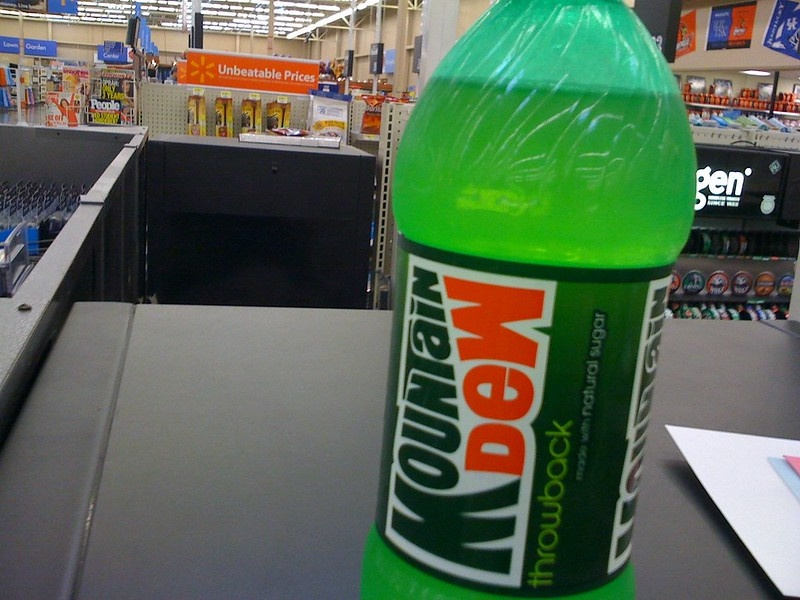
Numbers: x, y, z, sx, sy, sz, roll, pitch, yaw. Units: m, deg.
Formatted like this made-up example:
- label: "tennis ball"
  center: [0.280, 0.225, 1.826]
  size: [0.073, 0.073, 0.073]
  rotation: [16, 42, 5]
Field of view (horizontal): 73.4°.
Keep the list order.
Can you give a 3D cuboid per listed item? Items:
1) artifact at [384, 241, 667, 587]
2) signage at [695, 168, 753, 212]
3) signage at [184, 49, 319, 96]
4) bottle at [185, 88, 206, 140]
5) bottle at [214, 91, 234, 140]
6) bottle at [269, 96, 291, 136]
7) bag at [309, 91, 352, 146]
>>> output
- label: "artifact"
  center: [0.053, 0.063, 0.426]
  size: [0.175, 0.234, 0.200]
  rotation: [5, 11, -9]
- label: "signage"
  center: [1.461, -0.509, 2.478]
  size: [0.285, 0.206, 0.098]
  rotation: [-5, 17, -25]
- label: "signage"
  center: [-1.159, -1.763, 4.178]
  size: [1.025, 0.277, 0.378]
  rotation: [-2, 18, -17]
- label: "bottle"
  center: [-1.423, -1.327, 3.769]
  size: [0.127, 0.301, 0.328]
  rotation: [-3, 17, -19]
- label: "bottle"
  center: [-1.236, -1.331, 3.744]
  size: [0.124, 0.099, 0.387]
  rotation: [-4, -29, -21]
- label: "bottle"
  center: [-0.897, -1.389, 3.958]
  size: [0.154, 0.234, 0.323]
  rotation: [3, 17, -1]
- label: "bag"
  center: [-0.525, -1.284, 3.955]
  size: [0.298, 0.470, 0.154]
  rotation: [1, -1, -12]
